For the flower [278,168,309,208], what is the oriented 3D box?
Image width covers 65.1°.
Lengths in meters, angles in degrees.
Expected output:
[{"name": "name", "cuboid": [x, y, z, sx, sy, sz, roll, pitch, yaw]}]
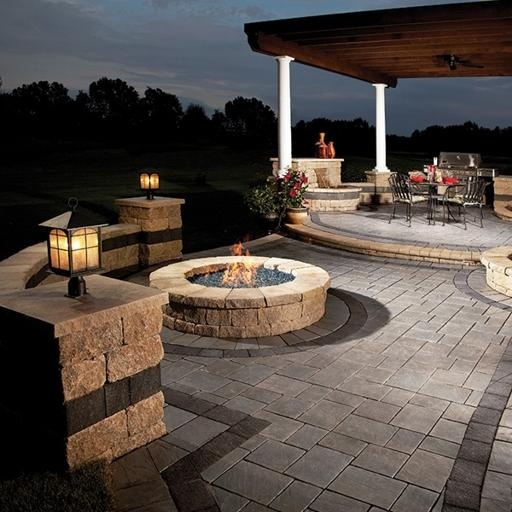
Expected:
[{"name": "flower", "cuboid": [0.845, -1.697, 9.219, 0.748, 0.491, 0.761, 8, 20, 6]}]

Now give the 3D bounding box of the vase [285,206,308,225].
[{"name": "vase", "cuboid": [0.884, -0.893, 8.850, 0.451, 0.266, 0.414, 0, 4, 5]}]

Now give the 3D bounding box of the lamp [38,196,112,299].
[{"name": "lamp", "cuboid": [-0.973, -0.047, 2.100, 0.375, 0.507, 0.247, 4, 10, 24]}]

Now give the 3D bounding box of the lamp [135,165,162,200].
[{"name": "lamp", "cuboid": [-1.849, -1.256, 6.941, 0.338, 0.552, 0.780, -2, 9, -13]}]
